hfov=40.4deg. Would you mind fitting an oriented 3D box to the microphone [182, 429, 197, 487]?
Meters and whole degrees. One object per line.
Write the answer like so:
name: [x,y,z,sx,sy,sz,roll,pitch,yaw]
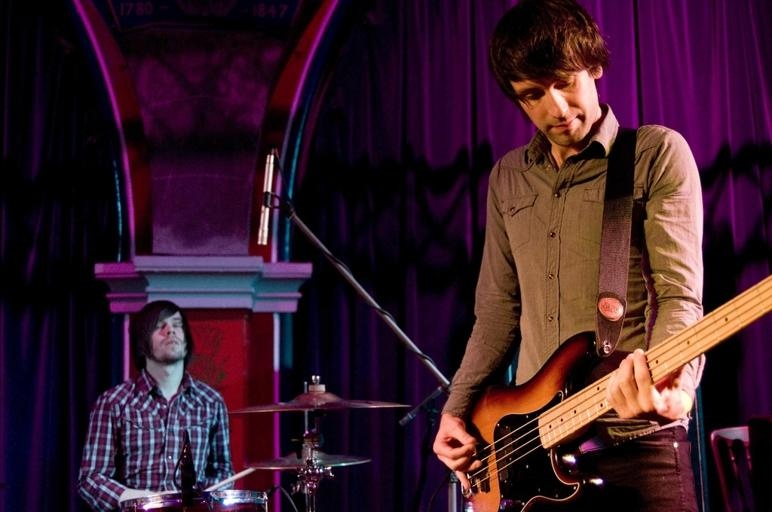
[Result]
microphone: [-0.969,0.987,5.096,0.065,0.306,0.297,-2,-17,-11]
